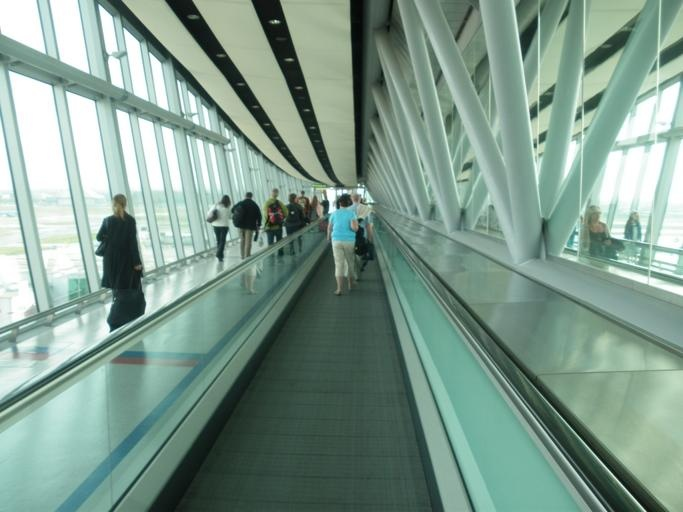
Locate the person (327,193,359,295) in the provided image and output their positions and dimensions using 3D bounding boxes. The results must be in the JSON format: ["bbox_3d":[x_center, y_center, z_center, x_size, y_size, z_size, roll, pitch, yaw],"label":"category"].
[{"bbox_3d":[0.045,-0.263,11.573,0.517,1.966,0.770,-1,12,-1],"label":"person"}]

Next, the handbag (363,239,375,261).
[{"bbox_3d":[0.636,-0.168,13.318,0.248,0.388,0.141,5,39,18],"label":"handbag"}]

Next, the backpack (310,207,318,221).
[{"bbox_3d":[-1.135,-1.717,24.207,0.167,0.711,0.725,3,2,-1],"label":"backpack"}]

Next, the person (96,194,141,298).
[{"bbox_3d":[-3.224,-0.201,8.523,0.594,1.304,0.488,-6,13,-24],"label":"person"}]

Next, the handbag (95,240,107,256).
[{"bbox_3d":[-3.473,-0.107,8.547,0.133,0.257,0.326,-6,14,-22],"label":"handbag"}]

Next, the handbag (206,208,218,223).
[{"bbox_3d":[-3.538,-1.128,16.273,0.235,0.366,0.135,10,-11,37],"label":"handbag"}]
